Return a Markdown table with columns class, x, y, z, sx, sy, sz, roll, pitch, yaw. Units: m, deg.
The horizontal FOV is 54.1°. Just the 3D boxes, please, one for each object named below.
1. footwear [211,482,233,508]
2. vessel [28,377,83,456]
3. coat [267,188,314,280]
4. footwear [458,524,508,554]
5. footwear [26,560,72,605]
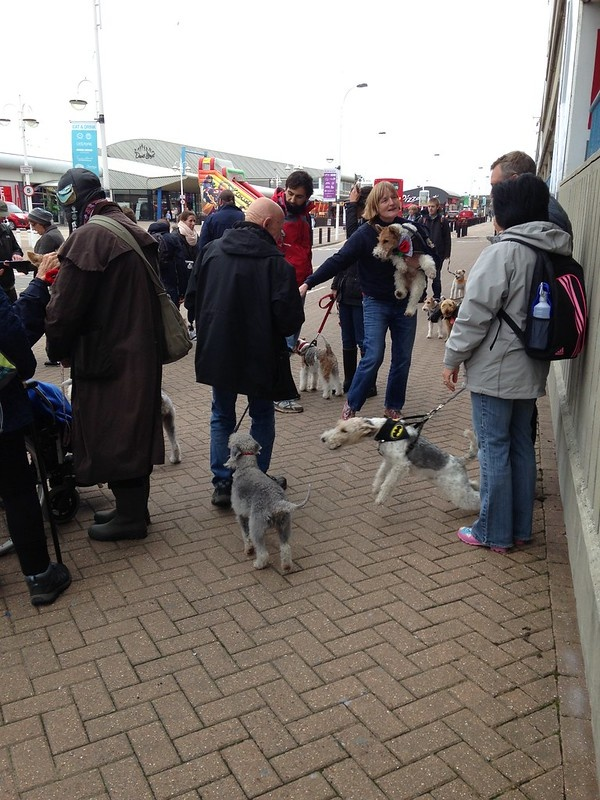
| class | x | y | z | sx | sy | sz | roll | pitch | yaw |
| --- | --- | --- | --- | --- | --- | --- | --- | --- | --- |
| footwear | -0.551 | 0.663 | 4.010 | 0.093 | 0.101 | 0.230 | 2 | 1 | -7 |
| vessel | -1.452 | 0.115 | 3.406 | 0.268 | 0.450 | 0.354 | -13 | 23 | -25 |
| coat | -0.086 | -1.757 | 6.639 | 0.547 | 1.216 | 0.367 | 16 | 42 | 24 |
| footwear | 1.139 | 0.862 | 3.611 | 0.274 | 0.119 | 0.105 | 20 | 29 | 32 |
| footwear | -1.276 | 0.918 | 3.014 | 0.121 | 0.135 | 0.289 | -1 | 16 | 6 |
